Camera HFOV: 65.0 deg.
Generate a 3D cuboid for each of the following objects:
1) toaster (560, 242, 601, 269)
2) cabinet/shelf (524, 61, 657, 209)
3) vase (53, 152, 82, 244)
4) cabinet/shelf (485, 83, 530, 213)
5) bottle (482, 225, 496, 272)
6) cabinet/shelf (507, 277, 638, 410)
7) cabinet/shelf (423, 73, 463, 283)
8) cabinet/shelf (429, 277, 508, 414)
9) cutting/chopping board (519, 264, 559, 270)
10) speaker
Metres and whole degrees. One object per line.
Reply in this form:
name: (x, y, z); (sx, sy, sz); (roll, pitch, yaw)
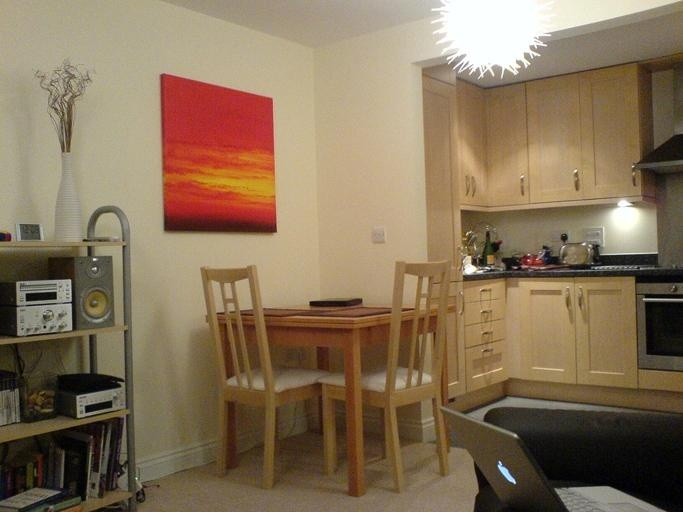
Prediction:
toaster: (2.018, 0.000, 4.534); (0.279, 0.207, 0.215); (-3, -3, 32)
cabinet/shelf: (2.067, -0.960, 4.617); (0.882, 1.118, 0.458); (-1, -8, 21)
vase: (-1.346, -0.291, 2.632); (0.114, 0.442, 0.216); (-3, 3, -27)
cabinet/shelf: (1.483, -0.921, 4.768); (0.392, 1.168, 0.145); (7, 35, 29)
bottle: (1.346, -0.088, 4.907); (0.139, 0.347, 0.347); (-1, 3, 15)
cabinet/shelf: (1.891, 0.585, 4.304); (0.856, 0.869, 0.436); (-1, 3, 26)
cabinet/shelf: (0.744, -0.554, 3.867); (0.152, 1.487, 0.513); (1, 4, 34)
cabinet/shelf: (0.904, 0.637, 4.166); (0.853, 0.840, 0.311); (0, -2, -45)
cutting/chopping board: (1.688, 0.092, 4.542); (0.296, 0.038, 0.497); (-1, 3, 19)
speaker: (-1.292, 0.173, 2.601); (0.324, 0.343, 0.173); (-1, 3, 15)
